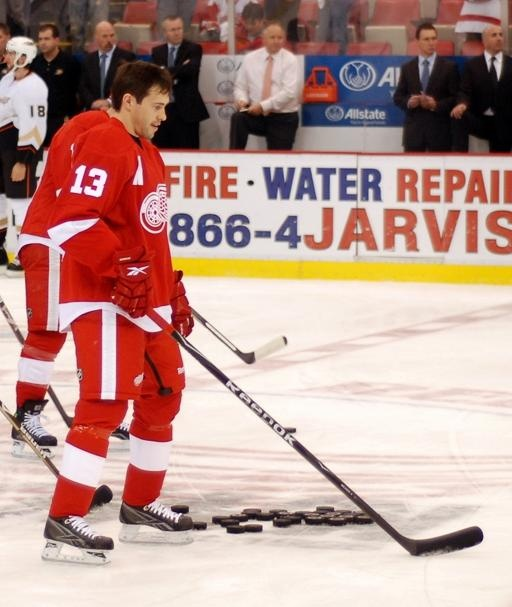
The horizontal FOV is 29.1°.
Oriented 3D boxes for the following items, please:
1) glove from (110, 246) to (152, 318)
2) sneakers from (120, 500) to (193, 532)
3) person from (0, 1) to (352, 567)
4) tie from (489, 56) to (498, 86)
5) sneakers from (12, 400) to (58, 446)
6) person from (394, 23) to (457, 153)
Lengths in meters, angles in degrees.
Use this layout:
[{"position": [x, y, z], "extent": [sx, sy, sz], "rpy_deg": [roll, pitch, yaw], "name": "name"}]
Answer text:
[{"position": [-0.296, -0.052, 2.407], "extent": [0.116, 0.177, 0.054], "rpy_deg": [11, -40, -31], "name": "glove"}, {"position": [-0.267, 0.583, 2.725], "extent": [0.236, 0.086, 0.073], "rpy_deg": [2, 3, -4], "name": "sneakers"}, {"position": [-0.328, 0.017, 2.529], "extent": [0.443, 1.269, 0.349], "rpy_deg": [0, 9, -29], "name": "person"}, {"position": [1.989, -1.950, 8.230], "extent": [0.076, 0.218, 0.031], "rpy_deg": [5, 8, 10], "name": "tie"}, {"position": [-0.833, 0.443, 3.738], "extent": [0.256, 0.165, 0.084], "rpy_deg": [17, 17, 39], "name": "sneakers"}, {"position": [1.452, -1.823, 8.388], "extent": [0.535, 1.042, 0.283], "rpy_deg": [4, 8, 6], "name": "person"}]
